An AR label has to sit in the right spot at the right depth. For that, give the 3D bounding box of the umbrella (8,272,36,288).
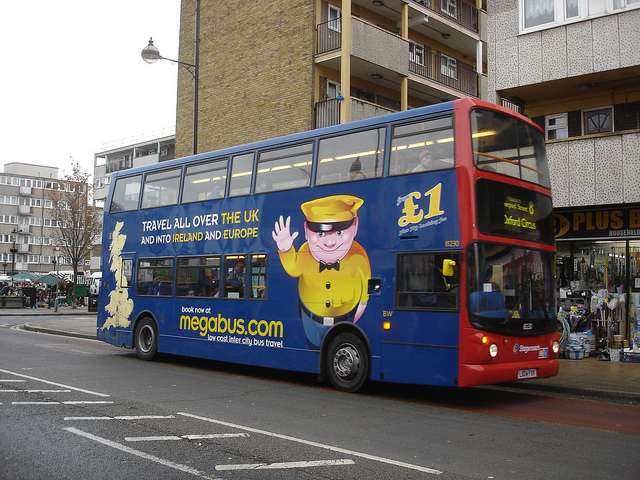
[{"bbox_3d":[-23.333,3.151,47.669,1.151,0.836,1.231,-1,-7,13],"label":"umbrella"}]
